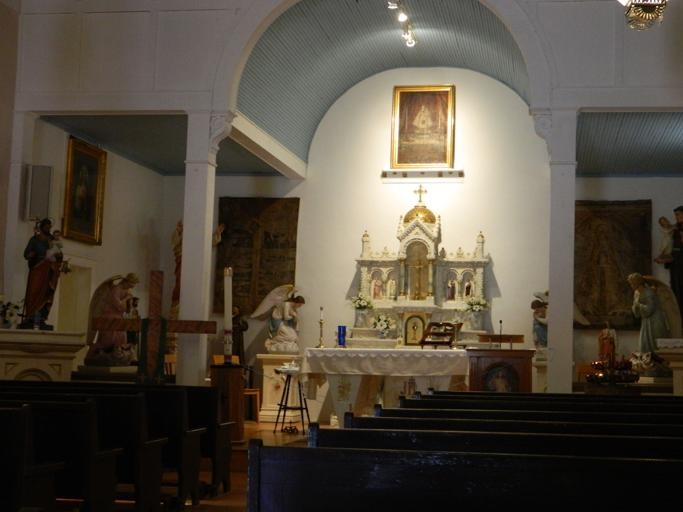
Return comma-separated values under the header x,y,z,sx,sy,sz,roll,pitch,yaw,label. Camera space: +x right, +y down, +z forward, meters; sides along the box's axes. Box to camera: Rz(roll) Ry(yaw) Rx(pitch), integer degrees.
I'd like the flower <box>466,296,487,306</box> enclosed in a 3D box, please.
x,y,z,sx,sy,sz,roll,pitch,yaw,label
2.430,0.820,13.928,0.198,0.139,0.201,3,-2,-19,flower

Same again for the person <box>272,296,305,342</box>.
x,y,z,sx,sy,sz,roll,pitch,yaw,label
-0.997,1.075,14.017,0.543,0.769,0.373,5,-9,-25,person

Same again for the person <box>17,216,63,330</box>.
x,y,z,sx,sy,sz,roll,pitch,yaw,label
-4.040,0.236,10.356,0.675,1.502,0.528,-3,-10,30,person

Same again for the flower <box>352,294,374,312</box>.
x,y,z,sx,sy,sz,roll,pitch,yaw,label
0.376,0.829,14.091,0.277,0.241,0.292,10,4,7,flower

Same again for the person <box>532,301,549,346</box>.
x,y,z,sx,sy,sz,roll,pitch,yaw,label
3.408,1.157,13.304,0.241,0.828,0.601,0,-8,12,person

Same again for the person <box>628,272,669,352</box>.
x,y,z,sx,sy,sz,roll,pitch,yaw,label
5.041,0.931,12.604,0.535,1.277,1.521,-2,-9,23,person

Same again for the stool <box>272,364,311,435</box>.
x,y,z,sx,sy,sz,roll,pitch,yaw,label
-0.785,2.246,12.166,0.548,0.990,0.561,-3,2,41,stool

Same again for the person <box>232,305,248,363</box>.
x,y,z,sx,sy,sz,roll,pitch,yaw,label
-1.920,1.470,14.561,0.268,1.074,0.445,3,-8,-8,person

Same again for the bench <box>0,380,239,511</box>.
x,y,z,sx,sy,sz,roll,pitch,yaw,label
-1.788,1.626,6.475,1.145,1.069,2.209,-1,-8,14,bench

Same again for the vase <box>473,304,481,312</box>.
x,y,z,sx,sy,sz,roll,pitch,yaw,label
2.443,0.934,13.894,0.113,0.102,0.115,2,-10,-4,vase

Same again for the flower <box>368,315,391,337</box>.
x,y,z,sx,sy,sz,roll,pitch,yaw,label
0.742,1.258,13.909,0.365,0.417,0.427,1,-8,0,flower
